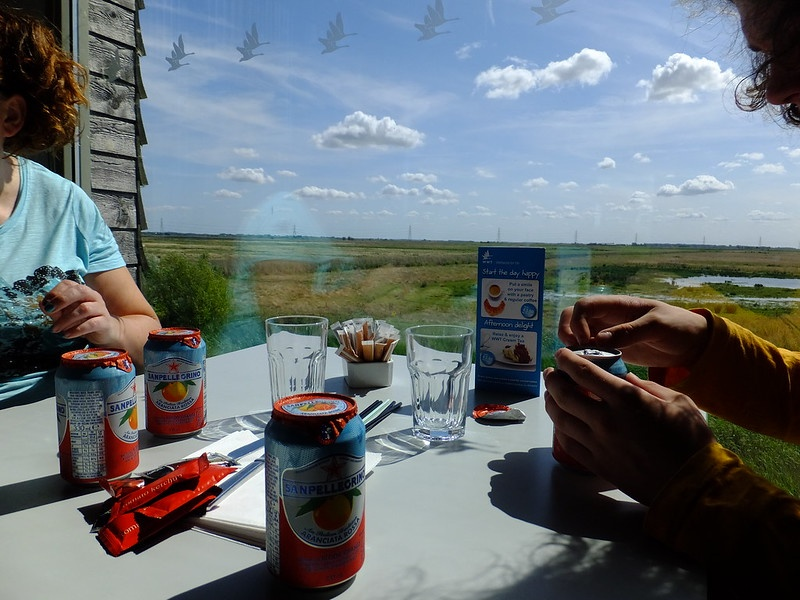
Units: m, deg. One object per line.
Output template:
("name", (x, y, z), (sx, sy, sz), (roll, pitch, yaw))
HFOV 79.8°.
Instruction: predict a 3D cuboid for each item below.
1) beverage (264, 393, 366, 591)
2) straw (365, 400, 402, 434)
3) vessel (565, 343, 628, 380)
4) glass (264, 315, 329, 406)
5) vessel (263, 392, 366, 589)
("beverage", (-0.104, 0.251, 0.619), (0.133, 0.196, 0.122), (-1, -2, -20))
("straw", (-0.036, 0.252, 1.035), (0.024, 0.011, 0.115), (20, 28, 25))
("vessel", (0.321, 0.105, 0.788), (0.053, 0.048, 0.049), (-1, 18, 10))
("glass", (-0.238, 0.145, 1.096), (0.140, 0.187, 0.127), (1, 8, -6))
("vessel", (-0.104, 0.255, 0.620), (0.136, 0.200, 0.124), (0, -3, -21))
